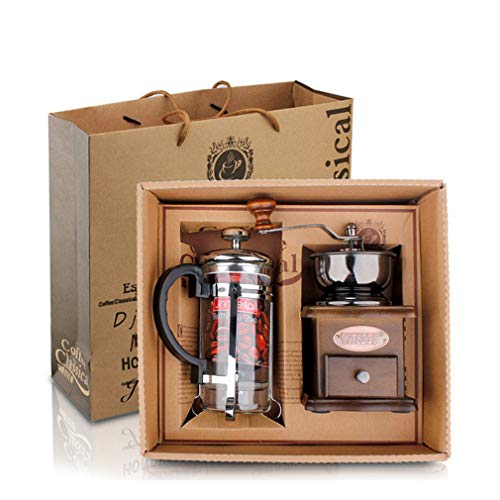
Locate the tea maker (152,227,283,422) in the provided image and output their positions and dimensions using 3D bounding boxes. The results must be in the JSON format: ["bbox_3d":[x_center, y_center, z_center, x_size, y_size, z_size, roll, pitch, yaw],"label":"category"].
[{"bbox_3d":[-0.088,0.218,1.630,0.266,0.435,0.251,-1,15,19],"label":"tea maker"}]
